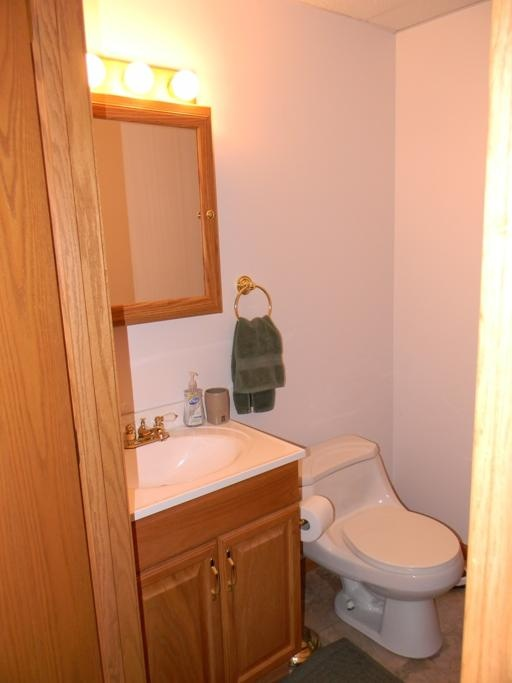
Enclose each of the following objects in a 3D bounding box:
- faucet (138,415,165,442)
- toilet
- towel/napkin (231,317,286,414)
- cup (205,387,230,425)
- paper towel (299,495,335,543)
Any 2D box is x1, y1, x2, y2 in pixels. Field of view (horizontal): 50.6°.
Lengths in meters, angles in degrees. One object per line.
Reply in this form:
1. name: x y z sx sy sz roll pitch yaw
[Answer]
1. faucet: -0.324 0.267 1.661 0.073 0.052 0.075 5 11 43
2. toilet: 0.459 0.763 1.980 0.399 0.608 0.578 -14 17 -33
3. towel/napkin: -0.002 0.096 1.880 0.162 0.370 0.181 3 14 29
4. cup: -0.129 0.214 1.767 0.064 0.110 0.074 -18 25 -37
5. paper towel: 0.185 0.568 1.804 0.116 0.130 0.146 1 21 26
